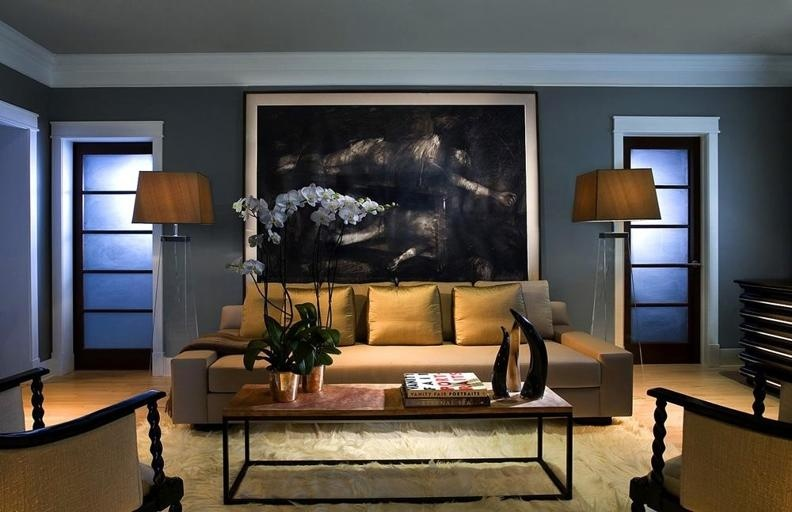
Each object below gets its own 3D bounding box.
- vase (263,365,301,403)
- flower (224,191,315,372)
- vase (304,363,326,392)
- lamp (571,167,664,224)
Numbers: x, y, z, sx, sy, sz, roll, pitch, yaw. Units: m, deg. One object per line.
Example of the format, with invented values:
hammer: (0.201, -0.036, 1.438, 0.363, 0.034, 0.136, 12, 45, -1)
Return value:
vase: (-0.876, 1.003, 4.883, 0.262, 0.187, 0.241, 1, -6, -3)
flower: (-1.049, 0.184, 5.832, 0.914, 1.530, 2.382, -3, 4, -13)
vase: (-0.657, 0.974, 5.035, 0.202, 0.198, 0.186, 1, 0, 21)
lamp: (2.519, -0.647, 6.421, 0.952, 0.494, 0.955, -3, 8, 14)
